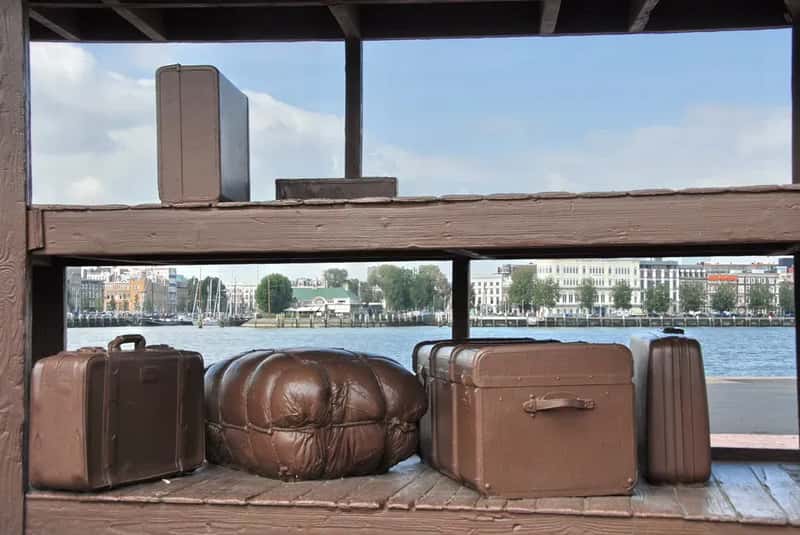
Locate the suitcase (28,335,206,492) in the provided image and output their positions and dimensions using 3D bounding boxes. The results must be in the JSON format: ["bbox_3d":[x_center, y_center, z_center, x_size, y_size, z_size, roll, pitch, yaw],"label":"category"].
[{"bbox_3d":[-2.078,1.047,7.978,0.715,1.041,1.222,-2,-2,34],"label":"suitcase"}]

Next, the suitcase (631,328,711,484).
[{"bbox_3d":[1.927,1.027,7.703,0.384,0.972,1.084,-2,-1,4],"label":"suitcase"}]

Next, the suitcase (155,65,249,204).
[{"bbox_3d":[-1.469,-0.955,7.872,0.375,0.955,1.074,0,1,4],"label":"suitcase"}]
